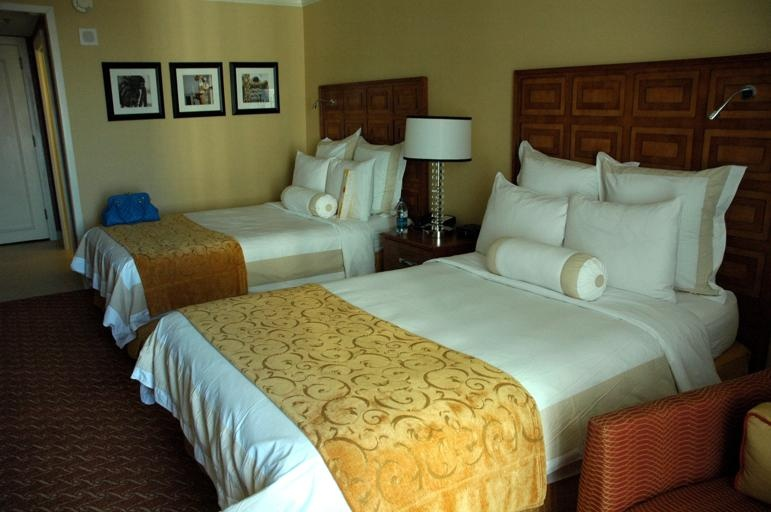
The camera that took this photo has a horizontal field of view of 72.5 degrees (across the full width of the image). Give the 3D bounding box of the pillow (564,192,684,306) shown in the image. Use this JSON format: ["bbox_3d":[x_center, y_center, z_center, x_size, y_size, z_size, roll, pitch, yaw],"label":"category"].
[{"bbox_3d":[1.539,-0.024,3.349,0.225,0.514,0.640,-16,20,-37],"label":"pillow"}]

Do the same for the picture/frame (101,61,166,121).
[{"bbox_3d":[-2.918,-1.905,6.011,0.695,0.680,0.050,-8,16,-28],"label":"picture/frame"}]

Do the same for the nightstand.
[{"bbox_3d":[0.377,-0.122,4.824,0.504,0.646,0.663,-11,24,-28],"label":"nightstand"}]

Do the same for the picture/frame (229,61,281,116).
[{"bbox_3d":[-1.683,-2.146,6.647,0.711,0.690,0.056,-5,13,-26],"label":"picture/frame"}]

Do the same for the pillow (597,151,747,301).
[{"bbox_3d":[1.862,-0.155,3.368,0.290,0.672,0.820,-20,25,-29],"label":"pillow"}]

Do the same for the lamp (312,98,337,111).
[{"bbox_3d":[-0.770,-1.898,6.530,0.081,0.154,0.553,-13,22,-30],"label":"lamp"}]

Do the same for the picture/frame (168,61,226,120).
[{"bbox_3d":[-2.300,-2.018,6.332,0.716,0.700,0.052,-7,13,-33],"label":"picture/frame"}]

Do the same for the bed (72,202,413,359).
[{"bbox_3d":[-1.260,-0.037,4.871,2.348,0.555,1.501,-10,25,-27],"label":"bed"}]

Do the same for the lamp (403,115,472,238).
[{"bbox_3d":[0.467,-0.731,4.776,0.592,1.041,0.474,2,20,8],"label":"lamp"}]

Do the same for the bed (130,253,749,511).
[{"bbox_3d":[0.292,0.605,2.805,2.274,0.543,1.708,-6,21,-26],"label":"bed"}]

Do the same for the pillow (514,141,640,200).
[{"bbox_3d":[1.431,-0.617,3.862,0.147,0.319,0.501,3,11,-40],"label":"pillow"}]

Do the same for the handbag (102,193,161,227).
[{"bbox_3d":[-2.808,-0.527,5.789,0.592,0.339,0.288,-9,10,-33],"label":"handbag"}]

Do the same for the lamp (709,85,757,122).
[{"bbox_3d":[2.190,-0.966,3.330,0.221,0.095,0.126,-24,30,0],"label":"lamp"}]

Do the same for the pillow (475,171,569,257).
[{"bbox_3d":[1.029,-0.305,3.874,0.248,0.540,0.676,-7,14,-33],"label":"pillow"}]
